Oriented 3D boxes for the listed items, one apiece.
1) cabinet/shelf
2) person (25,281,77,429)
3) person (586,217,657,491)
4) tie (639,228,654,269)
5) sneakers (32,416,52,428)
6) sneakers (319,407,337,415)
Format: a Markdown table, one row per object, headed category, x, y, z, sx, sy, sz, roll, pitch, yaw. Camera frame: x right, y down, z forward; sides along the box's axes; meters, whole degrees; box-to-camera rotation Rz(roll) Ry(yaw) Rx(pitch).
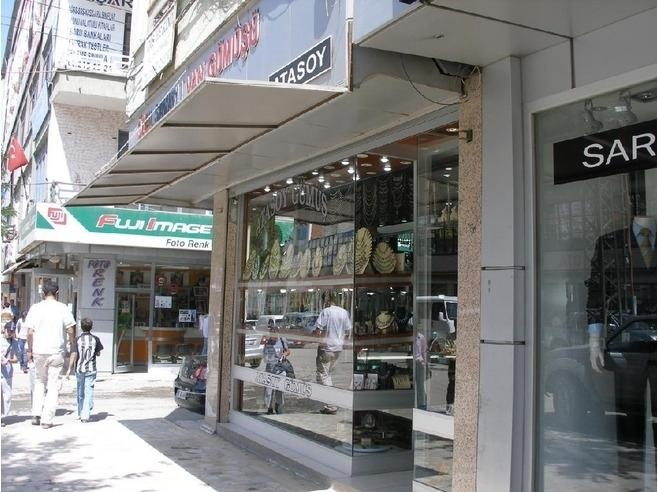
| category | x | y | z | sx | sy | sz | roll | pitch | yaw |
| --- | --- | --- | --- | --- | --- | --- | --- | --- | --- |
| cabinet/shelf | -0.325 | 1.464 | 7.956 | 1.080 | 2.411 | 3.170 | -6 | -1 | -37 |
| person | -4.909 | 1.869 | 9.600 | 0.742 | 2.525 | 0.744 | 6 | -9 | -31 |
| person | 2.229 | 0.756 | 4.150 | 0.137 | 1.922 | 0.540 | 7 | -9 | -34 |
| tie | 2.333 | 0.016 | 4.054 | 0.020 | 0.293 | 0.096 | 7 | -9 | -34 |
| sneakers | -5.010 | 3.059 | 9.605 | 0.166 | 0.229 | 0.502 | 7 | -15 | -35 |
| sneakers | -0.005 | 2.171 | 7.260 | 0.177 | 0.071 | 0.120 | -5 | -9 | 34 |
